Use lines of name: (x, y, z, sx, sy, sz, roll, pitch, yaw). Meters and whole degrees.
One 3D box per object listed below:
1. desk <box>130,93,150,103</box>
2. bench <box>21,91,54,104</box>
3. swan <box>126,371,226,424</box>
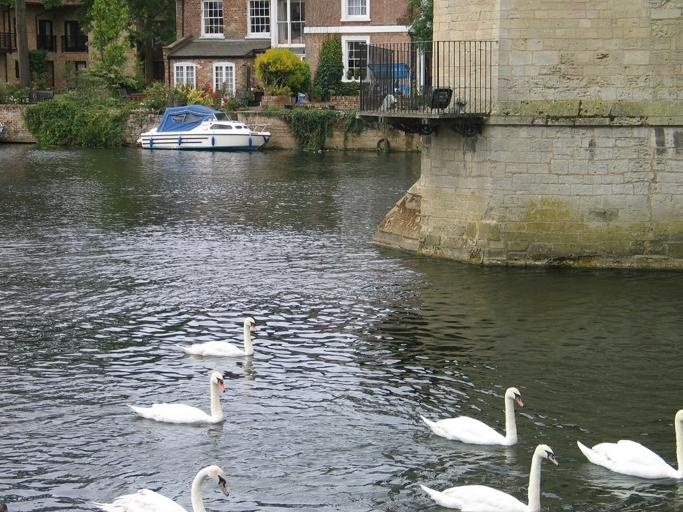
desk: (-11.409, -8.936, 70.611, 0.976, 0.398, 1.046, -3, 12, -10)
bench: (-17.005, -8.926, 70.134, 2.092, 0.619, 1.109, 6, 14, 31)
swan: (-2.922, 2.581, 22.844, 1.986, 1.071, 0.728, 2, 0, 32)
